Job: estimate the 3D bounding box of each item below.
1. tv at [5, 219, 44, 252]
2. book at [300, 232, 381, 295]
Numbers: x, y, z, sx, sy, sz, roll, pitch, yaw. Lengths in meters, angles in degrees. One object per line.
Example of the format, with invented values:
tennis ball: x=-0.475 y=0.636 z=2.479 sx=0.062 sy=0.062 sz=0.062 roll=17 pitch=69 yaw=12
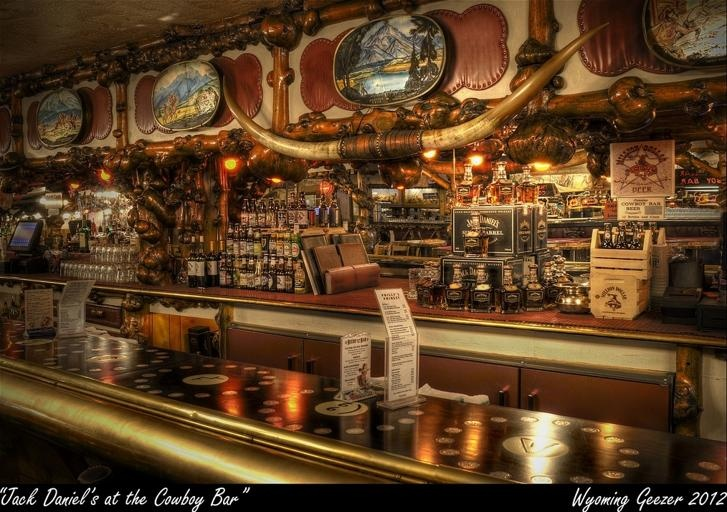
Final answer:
tv: x=-4.392 y=-0.246 z=7.282 sx=0.558 sy=0.340 sz=0.076 roll=3 pitch=-20 yaw=35
book: x=-0.249 y=0.082 z=5.095 sx=0.230 sy=0.373 sz=0.650 roll=-15 pitch=-4 yaw=41
